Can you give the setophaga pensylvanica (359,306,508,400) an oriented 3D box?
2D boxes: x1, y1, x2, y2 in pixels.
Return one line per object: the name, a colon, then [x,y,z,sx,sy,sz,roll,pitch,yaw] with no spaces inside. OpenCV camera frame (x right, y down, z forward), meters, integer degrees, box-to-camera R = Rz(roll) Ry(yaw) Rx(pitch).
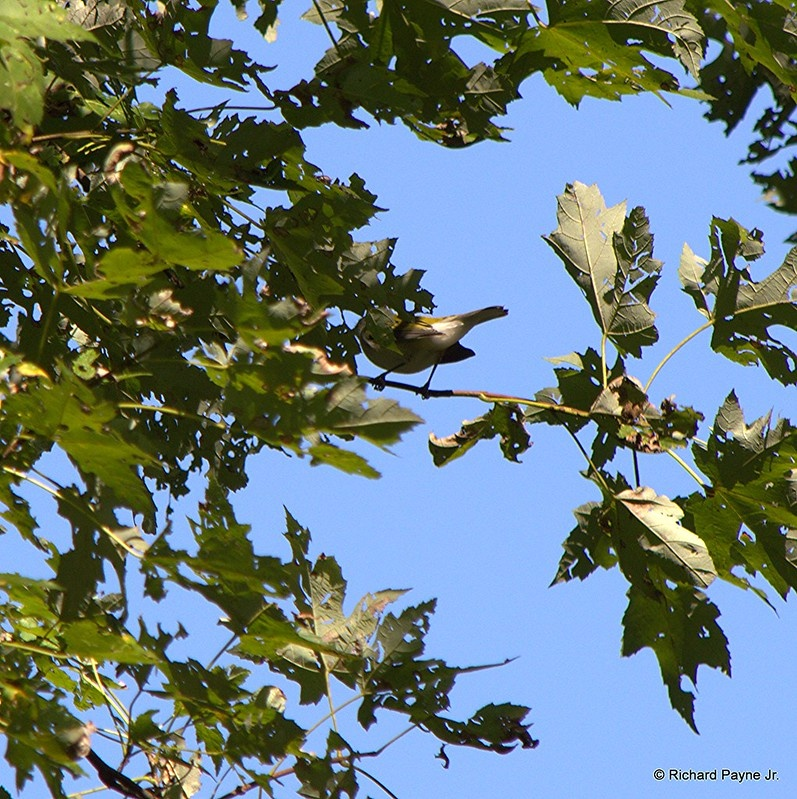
setophaga pensylvanica: [0.138,-0.263,9.339,0.629,0.347,0.640,-9,1,-24]
